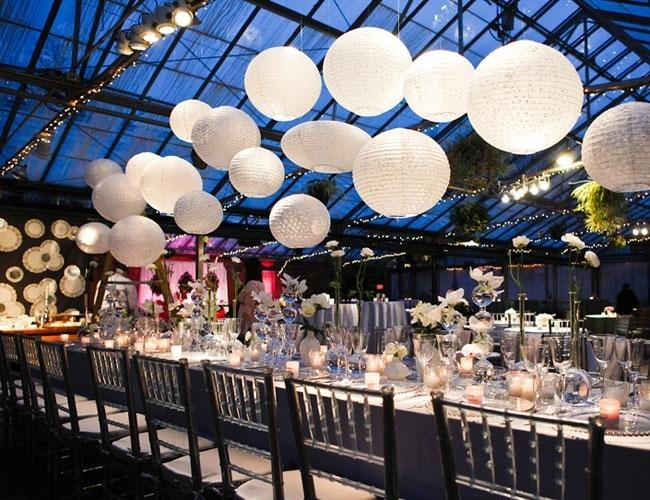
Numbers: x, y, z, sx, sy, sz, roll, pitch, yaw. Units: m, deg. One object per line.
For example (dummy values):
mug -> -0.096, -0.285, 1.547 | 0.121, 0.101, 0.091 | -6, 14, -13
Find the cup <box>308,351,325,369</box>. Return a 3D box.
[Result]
cup -> -0.052, 0.687, 3.359 | 0.098, 0.089, 0.092 | -2, -11, 0

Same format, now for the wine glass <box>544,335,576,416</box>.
wine glass -> 1.126, 0.581, 2.571 | 0.111, 0.335, 0.381 | 0, -2, 24
